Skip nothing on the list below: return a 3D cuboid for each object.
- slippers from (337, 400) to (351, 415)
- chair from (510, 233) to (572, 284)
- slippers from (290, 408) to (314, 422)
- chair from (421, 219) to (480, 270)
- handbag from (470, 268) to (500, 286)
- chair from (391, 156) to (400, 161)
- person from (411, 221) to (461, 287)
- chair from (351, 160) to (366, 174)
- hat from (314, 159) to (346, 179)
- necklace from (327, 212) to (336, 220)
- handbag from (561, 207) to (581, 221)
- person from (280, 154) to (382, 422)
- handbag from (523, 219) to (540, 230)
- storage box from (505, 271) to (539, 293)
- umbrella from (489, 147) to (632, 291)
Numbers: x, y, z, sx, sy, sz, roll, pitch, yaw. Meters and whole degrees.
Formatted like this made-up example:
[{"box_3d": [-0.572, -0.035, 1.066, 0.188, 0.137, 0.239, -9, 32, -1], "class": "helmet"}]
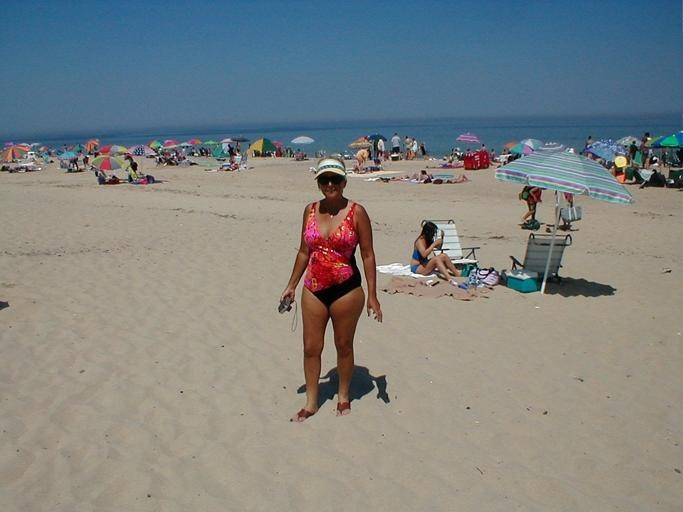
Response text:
[{"box_3d": [0.019, 1.638, 6.833, 0.164, 0.095, 0.358, -2, -2, 3], "class": "slippers"}, {"box_3d": [3.442, 0.026, 10.727, 0.651, 0.647, 0.878, 0, -3, 6], "class": "chair"}, {"box_3d": [-0.429, 1.682, 6.734, 0.228, 0.084, 0.116, 1, -1, -39], "class": "slippers"}, {"box_3d": [2.172, -0.264, 11.949, 0.820, 0.917, 1.271, -4, 16, -16], "class": "chair"}, {"box_3d": [2.377, 0.364, 10.590, 0.326, 0.165, 0.411, 5, 3, 19], "class": "handbag"}, {"box_3d": [3.102, -5.660, 36.637, 0.525, 0.266, 0.337, -2, 6, -4], "class": "chair"}, {"box_3d": [1.621, -0.062, 10.916, 0.506, 0.985, 1.086, -13, 12, -36], "class": "person"}, {"box_3d": [0.813, -4.326, 30.093, 0.443, 0.589, 1.320, 3, 21, -4], "class": "chair"}, {"box_3d": [-0.108, -0.872, 6.284, 0.295, 0.200, 0.212, -1, 12, -2], "class": "hat"}, {"box_3d": [-0.104, -0.399, 6.340, 0.070, 0.051, 0.027, 2, 12, 9], "class": "necklace"}, {"box_3d": [4.140, -0.772, 11.471, 0.343, 0.218, 0.076, -3, 0, -12], "class": "handbag"}, {"box_3d": [-0.126, 0.375, 6.554, 1.000, 2.751, 0.620, -2, 13, -5], "class": "person"}, {"box_3d": [4.456, -0.727, 14.940, 0.257, 0.135, 0.300, -2, 4, -19], "class": "handbag"}, {"box_3d": [2.958, 0.398, 10.327, 0.365, 0.290, 0.462, -4, 9, -16], "class": "storage box"}, {"box_3d": [3.545, -0.654, 10.950, 2.274, 2.459, 2.360, 17, 18, 24], "class": "umbrella"}]
